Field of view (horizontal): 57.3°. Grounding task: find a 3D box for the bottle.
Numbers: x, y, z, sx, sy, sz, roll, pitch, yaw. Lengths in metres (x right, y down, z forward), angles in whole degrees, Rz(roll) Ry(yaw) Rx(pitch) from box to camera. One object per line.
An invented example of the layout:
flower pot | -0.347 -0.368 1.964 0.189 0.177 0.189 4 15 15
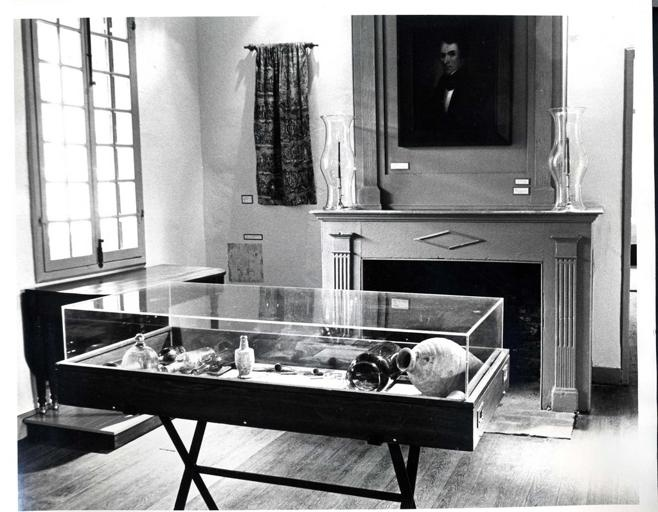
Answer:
bottle | -0.481 0.406 2.511 0.472 0.190 0.158 4 15 4

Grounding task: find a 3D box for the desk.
desk | -1.406 0.332 4.142 0.795 0.997 1.483 2 5 20
